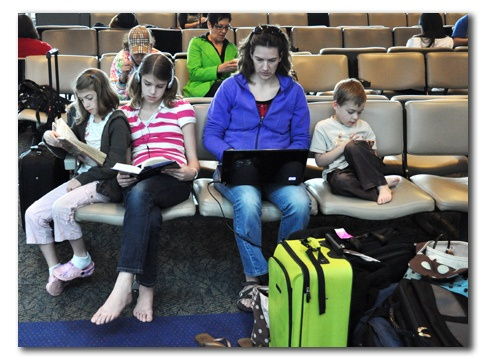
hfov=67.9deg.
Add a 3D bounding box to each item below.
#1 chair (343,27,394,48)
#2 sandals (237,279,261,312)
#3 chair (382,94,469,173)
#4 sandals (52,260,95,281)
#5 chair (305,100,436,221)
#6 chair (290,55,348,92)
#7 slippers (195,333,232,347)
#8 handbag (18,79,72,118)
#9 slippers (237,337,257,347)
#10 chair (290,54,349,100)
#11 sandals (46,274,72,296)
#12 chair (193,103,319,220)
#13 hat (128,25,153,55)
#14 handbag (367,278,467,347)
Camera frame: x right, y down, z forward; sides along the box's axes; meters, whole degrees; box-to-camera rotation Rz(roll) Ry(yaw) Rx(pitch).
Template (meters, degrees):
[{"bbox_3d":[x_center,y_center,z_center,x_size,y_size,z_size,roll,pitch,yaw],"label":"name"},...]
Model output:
[{"bbox_3d":[1.730,-1.978,5.079,0.618,0.358,0.433,-4,14,-9],"label":"chair"},{"bbox_3d":[0.021,0.613,1.893,0.069,0.088,0.213,0,3,-1],"label":"sandals"},{"bbox_3d":[1.399,-0.331,2.813,0.614,0.672,0.642,0,1,4],"label":"chair"},{"bbox_3d":[-0.930,0.500,2.017,0.211,0.093,0.092,-10,44,-32],"label":"sandals"},{"bbox_3d":[0.775,-0.155,2.412,0.715,0.616,0.790,-1,11,-5],"label":"chair"},{"bbox_3d":[0.751,-1.014,3.651,0.379,0.529,0.411,0,1,-1],"label":"chair"},{"bbox_3d":[-0.143,0.758,1.686,0.142,0.038,0.062,7,13,18],"label":"slippers"},{"bbox_3d":[-1.604,-0.686,2.943,0.475,0.200,0.379,10,6,25],"label":"handbag"},{"bbox_3d":[0.016,0.766,1.689,0.076,0.017,0.053,-2,10,-10],"label":"slippers"},{"bbox_3d":[0.757,-1.027,3.662,0.380,0.537,0.419,0,1,-1],"label":"chair"},{"bbox_3d":[-1.024,0.578,1.963,0.084,0.063,0.125,-3,4,-26],"label":"sandals"},{"bbox_3d":[0.025,-0.089,2.141,0.678,0.597,0.751,1,5,-11],"label":"chair"},{"bbox_3d":[-0.808,-1.130,2.858,0.196,0.244,0.180,-2,10,-14],"label":"hat"},{"bbox_3d":[0.738,0.586,1.530,0.317,0.122,0.321,-17,21,-17],"label":"handbag"}]
